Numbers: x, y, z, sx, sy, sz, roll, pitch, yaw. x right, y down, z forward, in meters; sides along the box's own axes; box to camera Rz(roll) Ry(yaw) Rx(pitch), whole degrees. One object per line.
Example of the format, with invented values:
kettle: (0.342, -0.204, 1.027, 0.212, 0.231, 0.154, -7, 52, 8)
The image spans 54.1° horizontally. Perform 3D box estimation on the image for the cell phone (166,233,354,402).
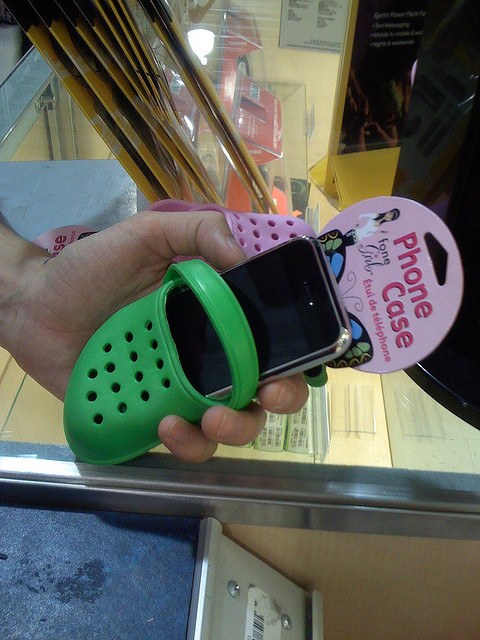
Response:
cell phone: (0.018, -0.001, 0.444, 0.167, 0.018, 0.098, -33, 73, 10)

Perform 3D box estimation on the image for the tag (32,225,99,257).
tag: (-0.263, -0.115, 0.713, 0.071, 0.015, 0.064, -17, 61, -6)
